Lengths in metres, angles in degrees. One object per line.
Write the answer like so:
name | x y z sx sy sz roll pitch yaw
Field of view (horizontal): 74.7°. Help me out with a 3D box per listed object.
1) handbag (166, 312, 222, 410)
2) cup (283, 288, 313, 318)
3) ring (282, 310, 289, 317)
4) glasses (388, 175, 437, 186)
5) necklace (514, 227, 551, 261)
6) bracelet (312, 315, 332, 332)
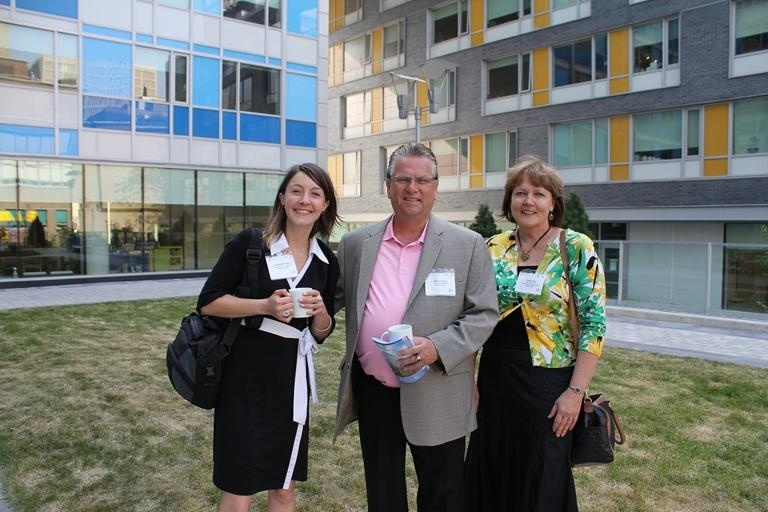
handbag | -1.494 0.851 3.976 0.405 0.788 0.349 -4 5 -20
cup | -0.657 0.375 3.905 0.157 0.249 0.155 -2 4 0
ring | -0.741 0.436 3.821 0.072 0.058 0.015 -4 5 -24
glasses | 0.226 -0.614 4.096 0.394 0.083 0.125 -2 4 3
necklace | 1.204 -0.062 4.224 0.192 0.327 0.057 16 -19 24
bracelet | -0.505 0.554 4.103 0.143 0.108 0.147 6 -7 -23
